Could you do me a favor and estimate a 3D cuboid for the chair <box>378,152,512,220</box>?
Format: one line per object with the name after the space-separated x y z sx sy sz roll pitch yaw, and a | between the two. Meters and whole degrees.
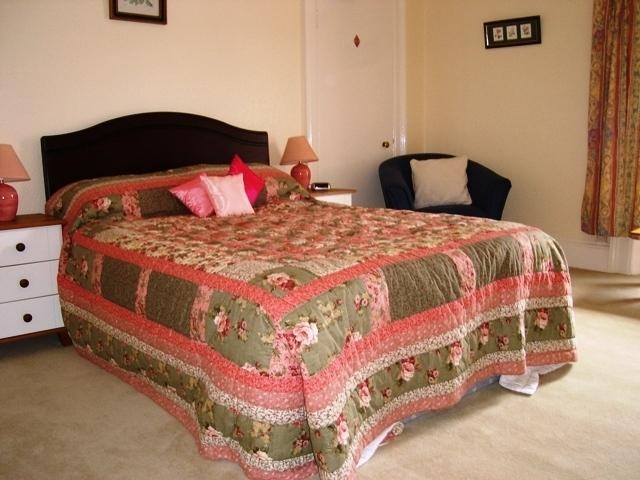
1.191 -0.492 5.045 0.844 0.980 0.832 -5 5 -12 | chair
